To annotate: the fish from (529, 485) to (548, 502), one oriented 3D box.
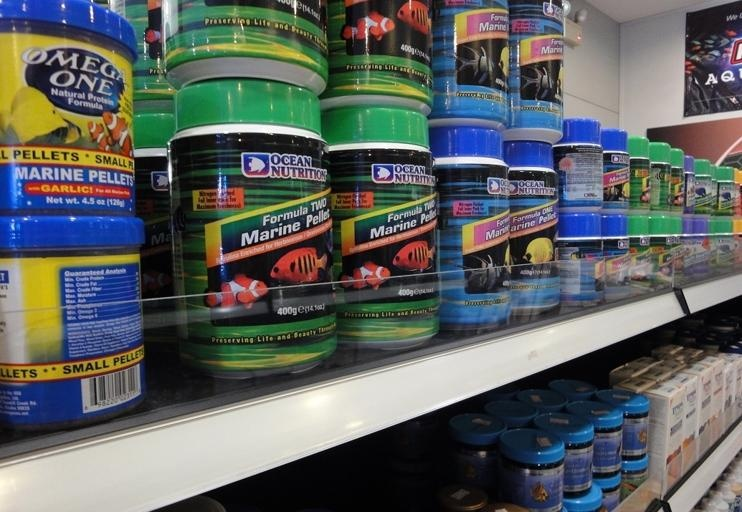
[{"bbox_3d":[0.291,0.409,1.016,0.029,0.022,0.011,-13,-10,40],"label":"fish"}]
